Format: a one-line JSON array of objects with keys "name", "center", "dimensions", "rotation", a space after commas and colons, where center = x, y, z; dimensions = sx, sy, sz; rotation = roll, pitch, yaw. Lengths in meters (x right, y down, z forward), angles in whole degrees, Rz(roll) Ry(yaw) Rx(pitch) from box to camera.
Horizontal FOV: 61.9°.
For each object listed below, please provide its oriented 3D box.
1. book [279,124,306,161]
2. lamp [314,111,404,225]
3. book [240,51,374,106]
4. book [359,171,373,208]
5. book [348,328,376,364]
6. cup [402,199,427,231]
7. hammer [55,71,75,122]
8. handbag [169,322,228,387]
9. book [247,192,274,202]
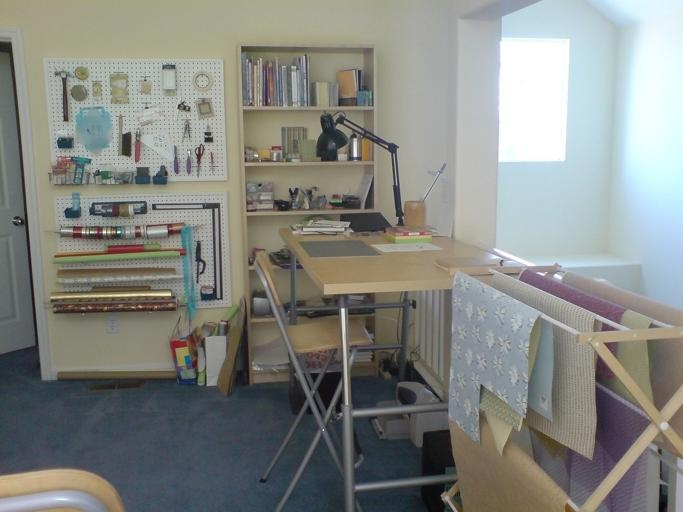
[{"name": "book", "center": [-0.379, -0.877, 4.461], "dimensions": [0.235, 0.350, 0.253], "rotation": [0, 4, -1]}, {"name": "lamp", "center": [0.130, -0.644, 4.078], "dimensions": [0.591, 0.741, 0.773], "rotation": [-1, 14, -1]}, {"name": "book", "center": [-0.260, -1.329, 4.302], "dimensions": [0.985, 0.402, 0.339], "rotation": [-3, 14, -9]}, {"name": "book", "center": [0.192, -0.502, 4.386], "dimensions": [0.034, 0.271, 0.221], "rotation": [7, 14, -7]}, {"name": "book", "center": [0.156, 0.680, 4.311], "dimensions": [0.280, 0.132, 0.373], "rotation": [-1, 4, 4]}, {"name": "cup", "center": [0.493, -0.272, 3.782], "dimensions": [0.165, 0.211, 0.175], "rotation": [1, 7, 0]}, {"name": "hammer", "center": [-2.070, -1.201, 4.265], "dimensions": [0.107, 0.373, 0.064], "rotation": [-6, 14, -22]}, {"name": "handbag", "center": [-1.088, 0.775, 4.387], "dimensions": [0.376, 0.313, 0.235], "rotation": [4, 16, 11]}, {"name": "book", "center": [-0.625, -0.448, 4.307], "dimensions": [0.191, 0.072, 0.032], "rotation": [-3, 13, -8]}]
